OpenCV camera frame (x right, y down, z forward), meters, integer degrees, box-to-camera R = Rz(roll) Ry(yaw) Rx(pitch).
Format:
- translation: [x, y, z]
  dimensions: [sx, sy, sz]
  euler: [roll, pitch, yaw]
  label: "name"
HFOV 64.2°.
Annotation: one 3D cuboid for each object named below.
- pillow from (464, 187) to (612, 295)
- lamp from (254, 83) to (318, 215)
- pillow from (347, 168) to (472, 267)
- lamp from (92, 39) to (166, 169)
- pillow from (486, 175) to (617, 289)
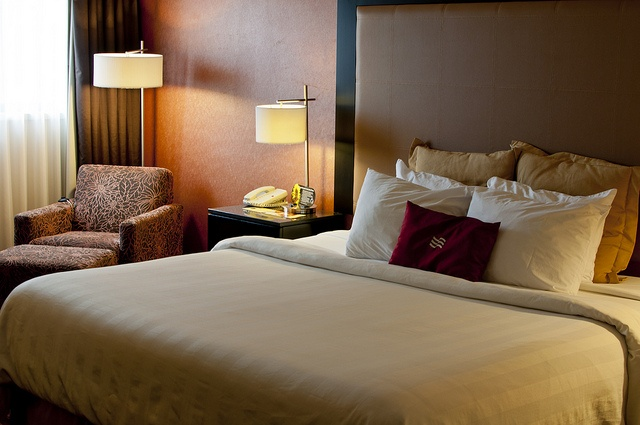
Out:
- translation: [1.214, 0.161, 2.779]
  dimensions: [0.555, 0.579, 0.218]
  euler: [13, -15, 23]
  label: "pillow"
- translation: [-0.225, -0.574, 4.381]
  dimensions: [0.519, 1.034, 0.584]
  euler: [5, 14, 17]
  label: "lamp"
- translation: [0.551, 0.054, 3.331]
  dimensions: [0.185, 0.590, 0.602]
  euler: [26, -10, -31]
  label: "pillow"
- translation: [-1.944, -1.100, 5.203]
  dimensions: [0.622, 1.306, 0.820]
  euler: [-4, 14, -24]
  label: "lamp"
- translation: [1.366, 0.104, 2.945]
  dimensions: [0.218, 0.584, 0.730]
  euler: [26, -9, -39]
  label: "pillow"
